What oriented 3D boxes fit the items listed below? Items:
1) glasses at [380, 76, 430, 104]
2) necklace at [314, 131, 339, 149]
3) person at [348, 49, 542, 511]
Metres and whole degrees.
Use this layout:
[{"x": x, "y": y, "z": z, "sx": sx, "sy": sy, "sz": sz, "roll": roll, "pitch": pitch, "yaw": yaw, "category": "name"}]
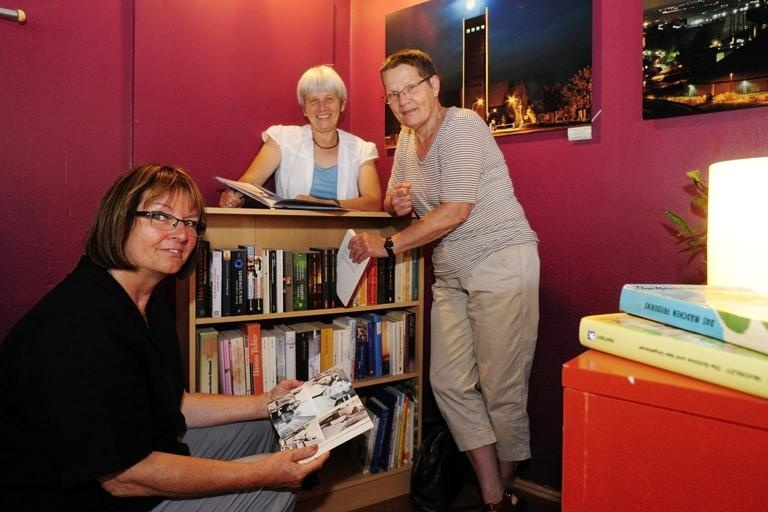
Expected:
[{"x": 0.113, "y": -0.769, "z": 2.654, "sx": 0.211, "sy": 0.108, "sz": 0.068, "roll": -3, "pitch": 5, "yaw": 6, "category": "glasses"}, {"x": -0.312, "y": -0.670, "z": 3.244, "sx": 0.101, "sy": 0.021, "sz": 0.096, "roll": -3, "pitch": -39, "yaw": -11, "category": "necklace"}, {"x": 0.343, "y": 0.108, "z": 2.734, "sx": 0.752, "sy": 2.150, "sz": 0.420, "roll": -2, "pitch": 5, "yaw": 15, "category": "person"}]
